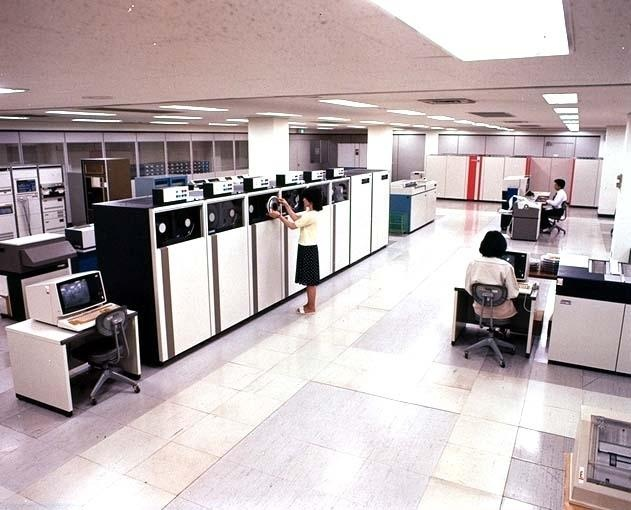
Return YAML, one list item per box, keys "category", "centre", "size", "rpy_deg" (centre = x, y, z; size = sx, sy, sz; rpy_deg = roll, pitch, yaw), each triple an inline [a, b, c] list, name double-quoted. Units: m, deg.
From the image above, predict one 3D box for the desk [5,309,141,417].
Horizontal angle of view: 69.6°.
- category: "desk"
  centre: [-2.596, 1.172, 5.099]
  size: [0.989, 1.018, 1.336]
  rpy_deg: [8, 16, 20]

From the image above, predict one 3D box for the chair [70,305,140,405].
- category: "chair"
  centre: [-2.254, 1.094, 4.936]
  size: [0.680, 0.902, 0.639]
  rpy_deg: [16, 22, 21]

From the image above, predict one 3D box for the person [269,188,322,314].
- category: "person"
  centre: [-0.232, -0.050, 6.914]
  size: [0.663, 1.913, 0.794]
  rpy_deg: [0, -1, -5]

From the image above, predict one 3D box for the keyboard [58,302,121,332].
- category: "keyboard"
  centre: [-2.350, 0.639, 4.818]
  size: [0.261, 0.087, 0.499]
  rpy_deg: [9, 20, 23]

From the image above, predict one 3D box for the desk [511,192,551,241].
- category: "desk"
  centre: [5.978, -1.148, 12.639]
  size: [0.878, 1.682, 1.698]
  rpy_deg: [4, 13, 24]

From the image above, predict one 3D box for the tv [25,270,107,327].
- category: "tv"
  centre: [-2.697, 0.407, 5.019]
  size: [0.533, 0.589, 0.785]
  rpy_deg: [1, 12, 20]

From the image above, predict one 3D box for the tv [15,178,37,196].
- category: "tv"
  centre: [-6.362, -1.515, 10.015]
  size: [0.051, 0.279, 0.382]
  rpy_deg: [5, 12, 32]

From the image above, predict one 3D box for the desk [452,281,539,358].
- category: "desk"
  centre: [2.446, 0.921, 6.218]
  size: [1.153, 0.913, 0.949]
  rpy_deg: [6, 21, 25]

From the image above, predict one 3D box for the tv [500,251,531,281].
- category: "tv"
  centre: [2.562, 0.145, 5.854]
  size: [0.352, 0.432, 0.216]
  rpy_deg: [-2, 3, 12]

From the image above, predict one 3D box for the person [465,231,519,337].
- category: "person"
  centre: [2.184, 0.245, 5.578]
  size: [0.683, 1.145, 0.594]
  rpy_deg: [1, -1, -37]
